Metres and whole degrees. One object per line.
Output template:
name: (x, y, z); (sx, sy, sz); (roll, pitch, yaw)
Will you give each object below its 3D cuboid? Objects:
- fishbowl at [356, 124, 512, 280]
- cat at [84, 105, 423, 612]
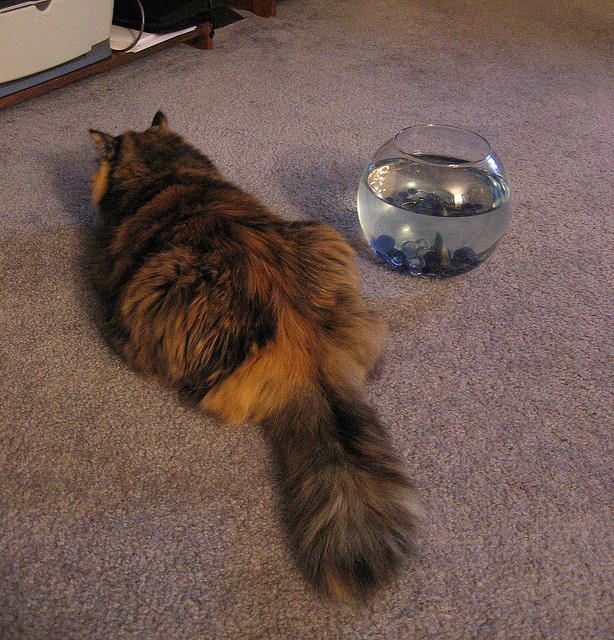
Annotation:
fishbowl: (0.264, -0.248, 1.337); (0.293, 0.288, 0.268); (-13, 51, -6)
cat: (-0.089, 0.050, 1.193); (0.451, 0.357, 0.908); (-30, 56, -18)
